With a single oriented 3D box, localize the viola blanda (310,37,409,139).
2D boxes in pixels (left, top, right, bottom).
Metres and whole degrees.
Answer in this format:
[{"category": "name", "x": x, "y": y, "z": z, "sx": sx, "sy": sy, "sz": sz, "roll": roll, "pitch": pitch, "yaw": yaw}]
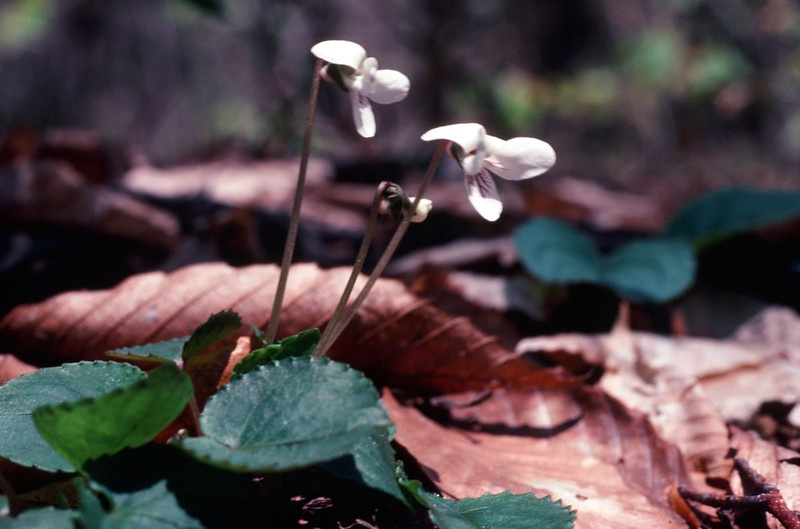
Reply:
[{"category": "viola blanda", "x": -0.199, "y": -0.850, "z": 3.636, "sx": 0.431, "sy": 0.320, "sz": 0.253, "roll": 34, "pitch": 44, "yaw": 18}]
